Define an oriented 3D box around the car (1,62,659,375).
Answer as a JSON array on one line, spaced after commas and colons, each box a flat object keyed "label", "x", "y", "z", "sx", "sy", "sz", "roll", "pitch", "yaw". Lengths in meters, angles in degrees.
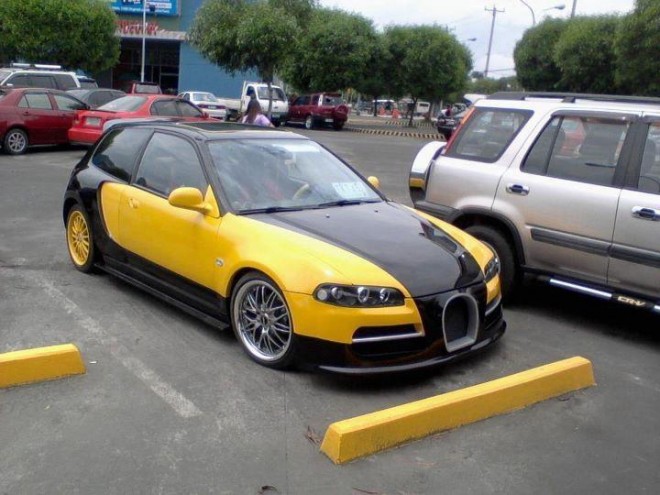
[{"label": "car", "x": -0.792, "y": -0.350, "z": 5.062, "sx": 5.084, "sy": 1.839, "sz": 2.126, "roll": 15, "pitch": 18, "yaw": 37}]
